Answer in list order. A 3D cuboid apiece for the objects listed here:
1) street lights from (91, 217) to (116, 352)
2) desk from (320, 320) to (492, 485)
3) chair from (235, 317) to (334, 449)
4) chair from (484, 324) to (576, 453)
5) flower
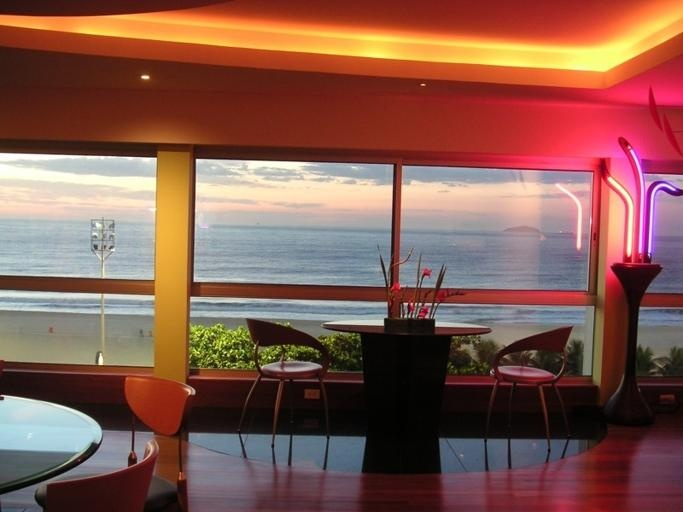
[{"bbox_3d":[-2.562,0.361,8.459,0.279,1.493,0.459,-4,15,-18],"label":"street lights"},{"bbox_3d":[0.602,1.317,7.682,1.432,1.118,1.479,3,-6,12],"label":"desk"},{"bbox_3d":[-0.569,1.144,7.644,0.908,1.127,1.158,-1,15,-8],"label":"chair"},{"bbox_3d":[1.857,1.317,8.152,1.055,1.606,1.115,1,-6,19],"label":"chair"},{"bbox_3d":[0.736,0.281,7.866,0.846,0.879,0.687,-2,5,-18],"label":"flower"}]
